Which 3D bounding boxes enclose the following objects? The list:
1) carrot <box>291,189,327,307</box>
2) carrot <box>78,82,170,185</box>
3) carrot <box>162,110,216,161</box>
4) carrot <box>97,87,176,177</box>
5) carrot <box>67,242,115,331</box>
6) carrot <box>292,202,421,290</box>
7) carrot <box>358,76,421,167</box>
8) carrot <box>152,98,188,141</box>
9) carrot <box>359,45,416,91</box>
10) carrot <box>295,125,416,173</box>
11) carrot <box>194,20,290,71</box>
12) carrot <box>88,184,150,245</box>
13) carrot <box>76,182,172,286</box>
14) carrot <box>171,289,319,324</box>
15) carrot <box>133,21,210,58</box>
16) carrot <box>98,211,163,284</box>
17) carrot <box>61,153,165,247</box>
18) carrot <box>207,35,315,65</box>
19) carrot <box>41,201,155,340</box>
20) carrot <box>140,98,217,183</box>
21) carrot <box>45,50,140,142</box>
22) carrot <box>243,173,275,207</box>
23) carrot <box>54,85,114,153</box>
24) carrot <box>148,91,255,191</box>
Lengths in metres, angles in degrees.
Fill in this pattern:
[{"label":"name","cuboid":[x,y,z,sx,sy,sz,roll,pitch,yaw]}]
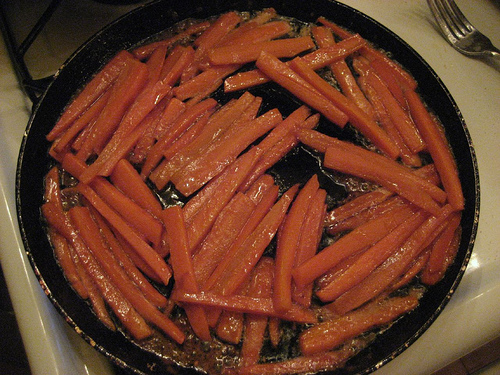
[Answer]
[{"label":"carrot","cuboid":[0.271,0.158,2.288,0.125,0.098,0.674,4,39,8]},{"label":"carrot","cuboid":[-0.580,-0.228,2.228,0.093,0.072,0.503,32,81,1]},{"label":"carrot","cuboid":[-0.290,-0.232,2.299,0.097,0.061,0.366,43,78,-4]},{"label":"carrot","cuboid":[-0.526,-0.237,2.230,0.070,0.060,0.438,32,81,-2]},{"label":"carrot","cuboid":[-0.696,0.446,2.126,0.054,0.040,0.400,-23,86,-8]},{"label":"carrot","cuboid":[0.469,0.277,2.153,0.507,0.078,0.124,-35,78,-7]},{"label":"carrot","cuboid":[0.615,-0.263,2.308,0.068,0.414,0.060,-7,51,42]},{"label":"carrot","cuboid":[-0.398,-0.329,2.301,0.051,0.115,0.223,33,92,43]},{"label":"carrot","cuboid":[0.674,-0.569,2.365,0.058,0.065,0.257,-45,86,2]},{"label":"carrot","cuboid":[0.494,-0.169,2.259,0.410,0.061,0.047,23,77,-1]},{"label":"carrot","cuboid":[-0.042,-0.671,2.346,0.354,0.061,0.085,-31,37,-7]},{"label":"carrot","cuboid":[-0.581,0.127,2.148,0.336,0.043,0.017,44,121,8]},{"label":"carrot","cuboid":[-0.562,0.224,2.137,0.076,0.112,0.476,-38,76,-7]},{"label":"carrot","cuboid":[-0.035,0.509,2.065,0.499,0.110,0.078,6,94,2]},{"label":"carrot","cuboid":[-0.394,-0.713,2.382,0.327,0.045,0.080,-26,61,-9]},{"label":"carrot","cuboid":[-0.522,0.272,2.131,0.049,0.066,0.370,-43,84,8]},{"label":"carrot","cuboid":[-0.615,0.073,2.162,0.502,0.088,0.125,43,98,6]},{"label":"carrot","cuboid":[0.036,-0.651,2.329,0.394,0.066,0.110,-9,65,-3]},{"label":"carrot","cuboid":[-0.653,0.357,2.128,0.131,0.089,0.638,-35,84,-41]},{"label":"carrot","cuboid":[-0.339,-0.197,2.234,0.107,0.106,0.449,37,88,-30]},{"label":"carrot","cuboid":[-0.731,-0.406,2.266,0.097,0.052,0.468,29,77,18]},{"label":"carrot","cuboid":[0.041,0.006,2.254,0.082,0.056,0.179,36,82,-4]},{"label":"carrot","cuboid":[-0.774,-0.301,2.253,0.069,0.039,0.369,37,82,-11]},{"label":"carrot","cuboid":[-0.228,-0.191,2.229,0.116,0.073,0.513,40,83,18]}]
